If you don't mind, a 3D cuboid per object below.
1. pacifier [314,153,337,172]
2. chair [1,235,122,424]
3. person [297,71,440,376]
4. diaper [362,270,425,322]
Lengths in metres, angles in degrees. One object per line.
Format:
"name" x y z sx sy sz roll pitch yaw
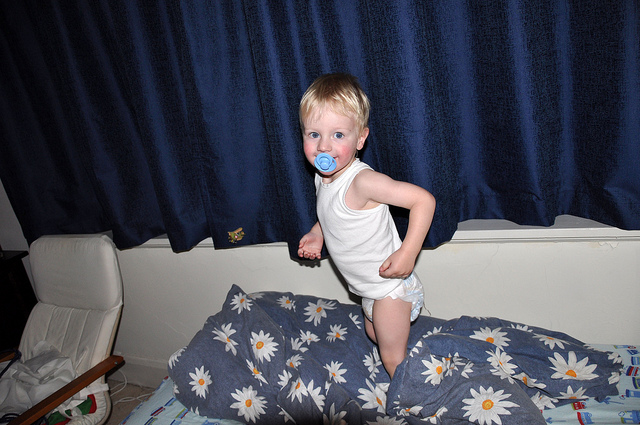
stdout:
"pacifier" 0.023 -0.201 1.748 0.091 0.075 0.031 -1 13 1
"chair" -1.435 0.631 2.423 0.644 0.937 0.805 -11 16 -35
"person" 0.199 0.080 1.852 0.545 1.307 0.227 2 14 15
"diaper" 0.321 0.382 1.921 0.267 0.237 0.127 0 13 6
